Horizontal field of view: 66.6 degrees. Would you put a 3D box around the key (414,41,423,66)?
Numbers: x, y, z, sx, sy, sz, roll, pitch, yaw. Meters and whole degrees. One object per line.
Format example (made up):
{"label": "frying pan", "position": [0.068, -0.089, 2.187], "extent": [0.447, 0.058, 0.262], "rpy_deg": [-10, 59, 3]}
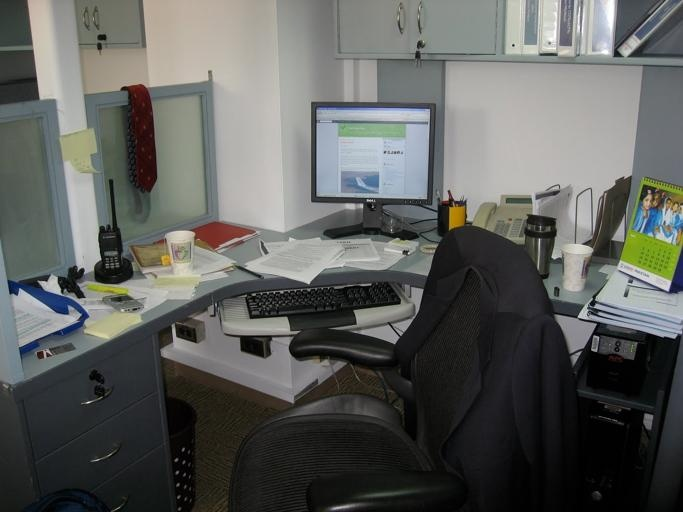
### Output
{"label": "key", "position": [0.342, -0.915, 2.317], "extent": [0.036, 0.131, 0.055], "rpy_deg": [3, 18, 20]}

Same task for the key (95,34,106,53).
{"label": "key", "position": [-1.467, -1.326, 3.223], "extent": [0.065, 0.094, 0.090], "rpy_deg": [1, 2, 0]}

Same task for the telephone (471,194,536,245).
{"label": "telephone", "position": [0.729, -0.177, 2.315], "extent": [0.273, 0.271, 0.085], "rpy_deg": [4, 36, 36]}

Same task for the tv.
{"label": "tv", "position": [0.149, -0.418, 2.424], "extent": [0.564, 0.642, 0.262], "rpy_deg": [2, 16, 7]}

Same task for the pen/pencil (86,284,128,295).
{"label": "pen/pencil", "position": [-0.887, 0.127, 1.962], "extent": [0.118, 0.028, 0.022], "rpy_deg": [4, 18, 6]}

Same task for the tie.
{"label": "tie", "position": [-0.856, -0.507, 2.228], "extent": [0.139, 0.437, 0.098], "rpy_deg": [-13, 20, -39]}
